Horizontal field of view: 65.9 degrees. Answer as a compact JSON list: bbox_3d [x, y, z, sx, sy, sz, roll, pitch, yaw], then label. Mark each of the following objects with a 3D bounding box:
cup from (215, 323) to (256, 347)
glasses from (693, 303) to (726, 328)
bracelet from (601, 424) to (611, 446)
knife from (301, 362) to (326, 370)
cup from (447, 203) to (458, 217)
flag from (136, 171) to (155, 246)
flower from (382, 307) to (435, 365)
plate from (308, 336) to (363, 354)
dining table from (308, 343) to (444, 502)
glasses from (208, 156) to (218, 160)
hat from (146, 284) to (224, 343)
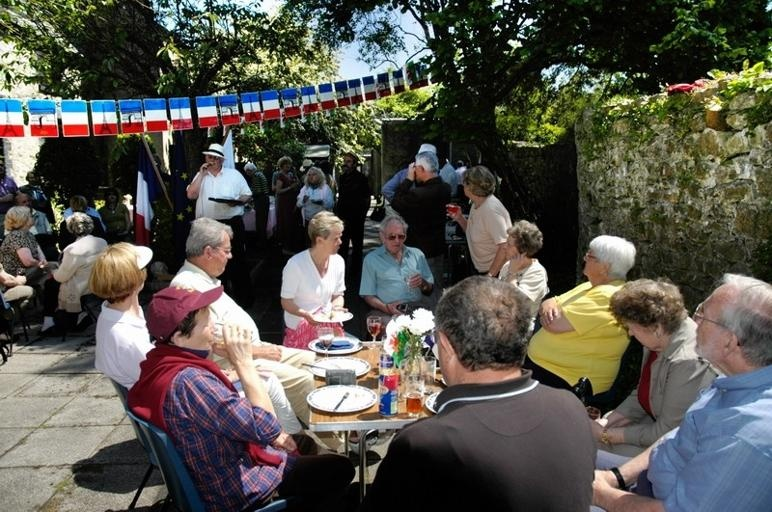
[{"bbox_3d":[-1.063,0.554,4.140,0.247,0.093,0.189,13,-13,-26],"label":"cup"},{"bbox_3d":[1.969,0.366,3.622,0.125,0.037,0.121,21,9,9],"label":"glasses"},{"bbox_3d":[1.606,1.321,4.339,0.032,0.097,0.075,-6,-24,3],"label":"bracelet"},{"bbox_3d":[-0.579,0.889,4.815,0.214,0.039,0.038,12,24,-18],"label":"knife"},{"bbox_3d":[0.786,-0.515,6.912,0.125,0.138,0.127,-3,9,0],"label":"cup"},{"bbox_3d":[-3.867,-0.748,9.461,0.306,1.172,0.291,-8,11,-28],"label":"flag"},{"bbox_3d":[0.154,0.604,4.434,0.413,0.294,0.419,-4,-25,25],"label":"flower"},{"bbox_3d":[-0.419,0.773,5.096,0.252,0.035,0.256,4,12,17],"label":"plate"},{"bbox_3d":[-0.066,0.778,4.551,0.991,0.904,1.820,-1,9,-6],"label":"dining table"},{"bbox_3d":[-2.451,-1.387,8.473,0.113,0.056,0.034,-6,11,-20],"label":"glasses"},{"bbox_3d":[-1.394,0.361,4.074,0.453,0.264,0.303,-38,20,-8],"label":"hat"}]
